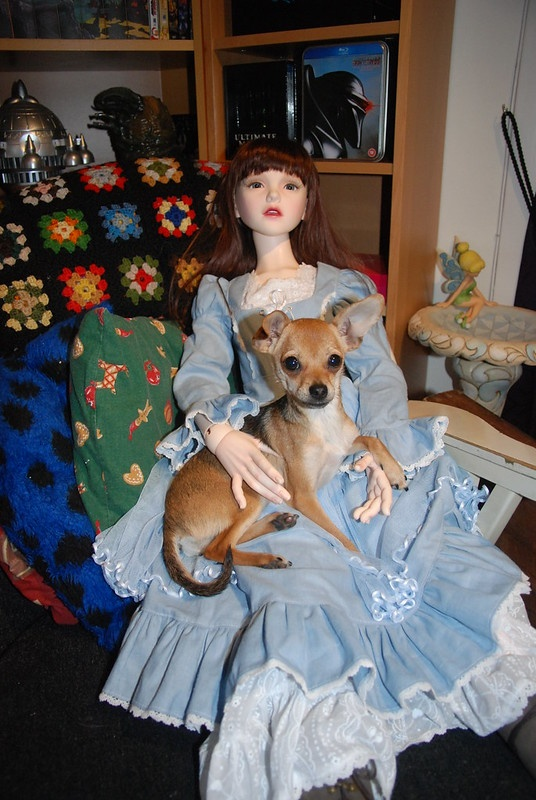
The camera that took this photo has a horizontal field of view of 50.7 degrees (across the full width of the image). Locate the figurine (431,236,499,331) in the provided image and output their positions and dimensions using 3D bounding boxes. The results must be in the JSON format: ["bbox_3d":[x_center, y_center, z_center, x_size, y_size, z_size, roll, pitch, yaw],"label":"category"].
[{"bbox_3d":[0.615,-0.348,1.718,0.158,0.247,0.121,13,28,30],"label":"figurine"}]

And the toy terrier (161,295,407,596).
[{"bbox_3d":[0.014,0.060,0.975,0.438,0.467,0.204,-1,23,0],"label":"toy terrier"}]

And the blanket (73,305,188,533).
[{"bbox_3d":[-0.142,0.028,0.908,0.090,0.310,0.313,1,65,11],"label":"blanket"}]
